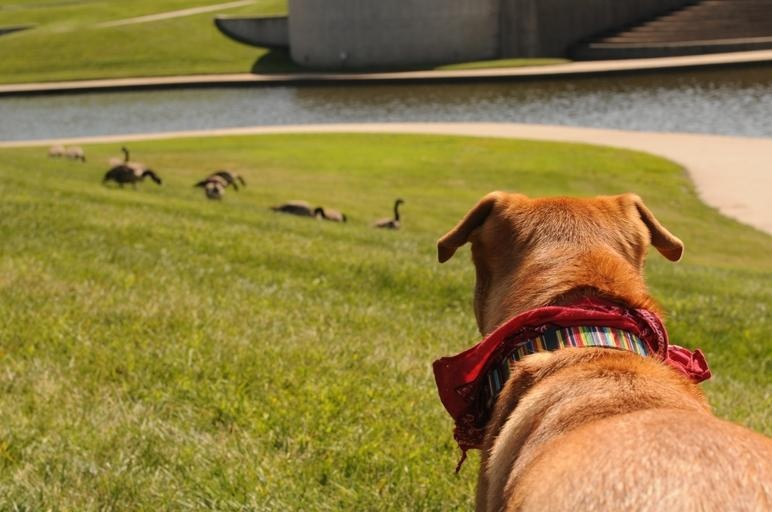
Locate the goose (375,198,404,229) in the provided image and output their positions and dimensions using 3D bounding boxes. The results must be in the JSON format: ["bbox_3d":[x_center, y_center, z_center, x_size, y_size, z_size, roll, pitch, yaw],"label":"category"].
[{"bbox_3d":[0.107,-0.948,18.259,0.479,0.517,1.219,1,24,10],"label":"goose"}]

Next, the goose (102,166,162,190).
[{"bbox_3d":[-5.315,-1.656,18.954,0.866,0.403,0.552,4,7,3],"label":"goose"}]

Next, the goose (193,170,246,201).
[{"bbox_3d":[-3.445,-1.476,19.015,0.621,0.387,0.879,3,17,0],"label":"goose"}]
